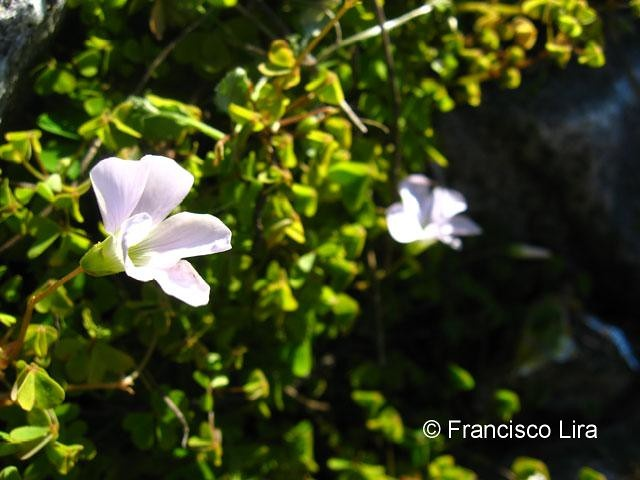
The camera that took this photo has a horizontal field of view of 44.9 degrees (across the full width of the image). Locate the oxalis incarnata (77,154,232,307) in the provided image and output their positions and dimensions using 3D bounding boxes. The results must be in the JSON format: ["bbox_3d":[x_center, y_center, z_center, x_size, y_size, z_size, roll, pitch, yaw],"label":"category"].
[{"bbox_3d":[-0.410,-0.020,1.762,0.349,0.319,0.177,38,111,35],"label":"oxalis incarnata"}]
